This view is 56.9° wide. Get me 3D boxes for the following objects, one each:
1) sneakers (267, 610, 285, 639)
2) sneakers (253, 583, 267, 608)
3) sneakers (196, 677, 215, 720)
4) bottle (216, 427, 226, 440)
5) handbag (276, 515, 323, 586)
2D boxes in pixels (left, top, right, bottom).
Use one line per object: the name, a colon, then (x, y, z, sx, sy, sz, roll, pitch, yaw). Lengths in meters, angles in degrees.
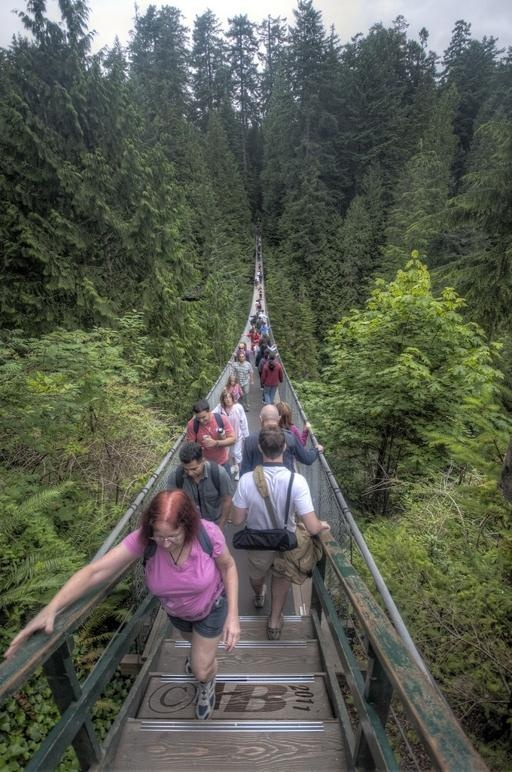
sneakers: (0.115, 1.446, 2.813, 0.061, 0.085, 0.201, 1, 48, 7)
sneakers: (0.036, 1.453, 3.379, 0.075, 0.098, 0.228, 0, 34, 1)
sneakers: (-0.222, 1.408, 2.132, 0.057, 0.074, 0.191, 0, 57, 1)
bottle: (-0.286, 0.382, 3.951, 0.072, 0.118, 0.077, 0, 35, 0)
handbag: (0.293, 0.958, 2.773, 0.249, 0.337, 0.146, 37, 2, 18)
